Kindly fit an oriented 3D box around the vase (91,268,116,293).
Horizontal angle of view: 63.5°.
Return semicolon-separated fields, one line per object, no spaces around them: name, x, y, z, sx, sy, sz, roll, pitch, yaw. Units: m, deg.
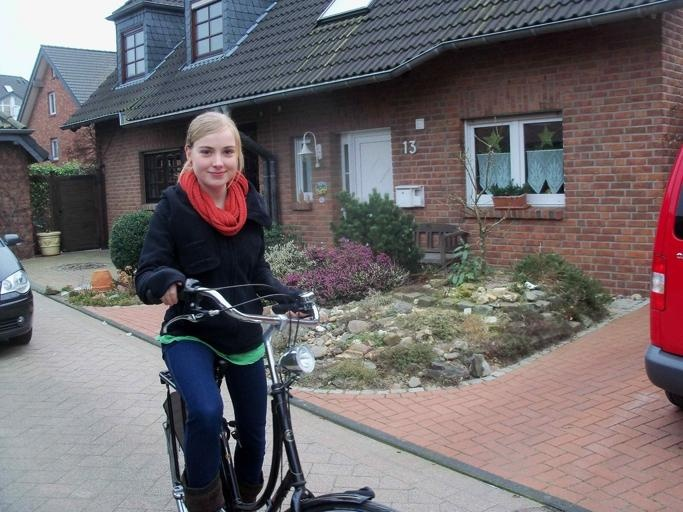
vase;-5.024;0.491;11.514;0.445;0.370;0.492;0;9;10

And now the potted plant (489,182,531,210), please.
potted plant;3.047;-1.067;9.947;0.696;0.489;0.489;1;5;20

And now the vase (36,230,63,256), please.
vase;-9.556;-0.447;17.967;0.740;0.743;0.729;-1;-2;-7

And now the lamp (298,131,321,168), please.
lamp;-0.742;-2.396;12.498;0.550;0.776;0.383;-10;20;-19
